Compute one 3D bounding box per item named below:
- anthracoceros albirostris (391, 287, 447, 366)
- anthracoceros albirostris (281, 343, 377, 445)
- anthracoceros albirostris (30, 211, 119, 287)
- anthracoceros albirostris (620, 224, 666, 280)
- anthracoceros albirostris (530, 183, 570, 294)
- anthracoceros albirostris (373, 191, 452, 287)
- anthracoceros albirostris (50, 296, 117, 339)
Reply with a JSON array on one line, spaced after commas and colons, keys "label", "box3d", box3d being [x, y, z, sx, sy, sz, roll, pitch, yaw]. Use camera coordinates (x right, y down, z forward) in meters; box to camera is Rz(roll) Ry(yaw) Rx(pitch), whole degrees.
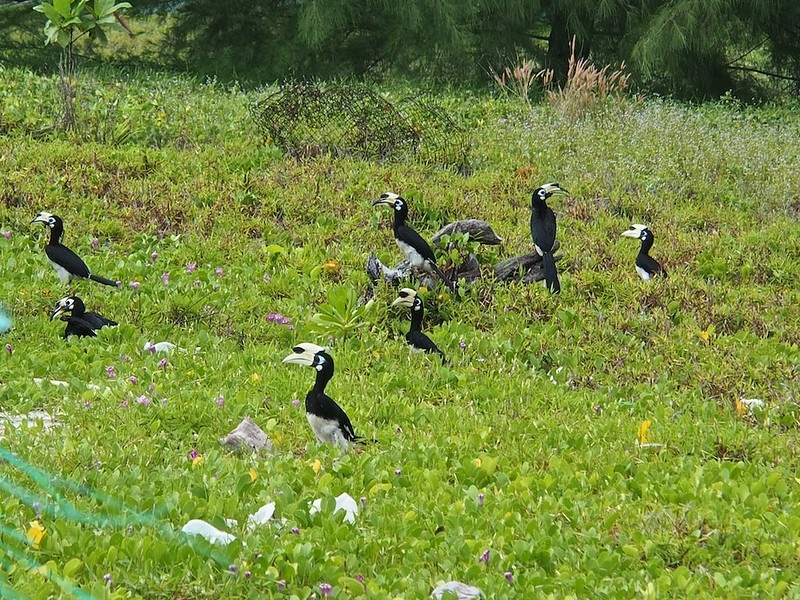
[{"label": "anthracoceros albirostris", "box3d": [0.224, 0.299, 14.344, 0.419, 0.627, 0.933, -10, 32, -33]}, {"label": "anthracoceros albirostris", "box3d": [-0.724, 1.063, 12.426, 0.955, 0.885, 0.442, 20, 27, 24]}, {"label": "anthracoceros albirostris", "box3d": [-3.929, -0.530, 14.703, 1.121, 0.957, 0.319, 17, 27, 0]}, {"label": "anthracoceros albirostris", "box3d": [3.309, -0.628, 16.287, 0.564, 0.616, 0.692, -7, 29, -28]}, {"label": "anthracoceros albirostris", "box3d": [1.963, -0.862, 15.794, 0.380, 1.588, 0.578, 6, -19, -22]}, {"label": "anthracoceros albirostris", "box3d": [0.209, -0.723, 15.264, 1.158, 0.999, 0.384, 17, 26, 17]}, {"label": "anthracoceros albirostris", "box3d": [-3.579, 0.272, 13.942, 0.796, 0.659, 0.448, -3, 17, -20]}]
